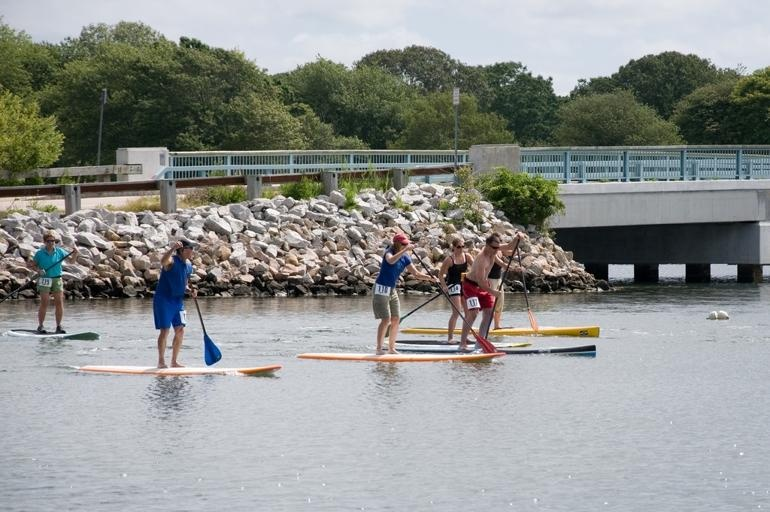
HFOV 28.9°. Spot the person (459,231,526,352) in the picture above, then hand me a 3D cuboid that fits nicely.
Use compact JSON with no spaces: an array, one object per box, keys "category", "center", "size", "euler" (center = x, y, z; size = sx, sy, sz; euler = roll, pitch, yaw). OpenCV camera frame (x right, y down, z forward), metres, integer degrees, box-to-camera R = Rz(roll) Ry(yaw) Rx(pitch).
[{"category":"person","center":[2.792,0.858,39.737],"size":[1.313,3.306,1.064],"euler":[-1,16,-27]}]

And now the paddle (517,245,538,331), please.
[{"category":"paddle","center":[4.117,1.100,43.899],"size":[0.112,2.577,0.415],"euler":[-12,-3,44]}]

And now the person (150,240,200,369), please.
[{"category":"person","center":[-5.177,1.194,37.050],"size":[1.127,3.087,1.126],"euler":[1,-1,-12]}]
